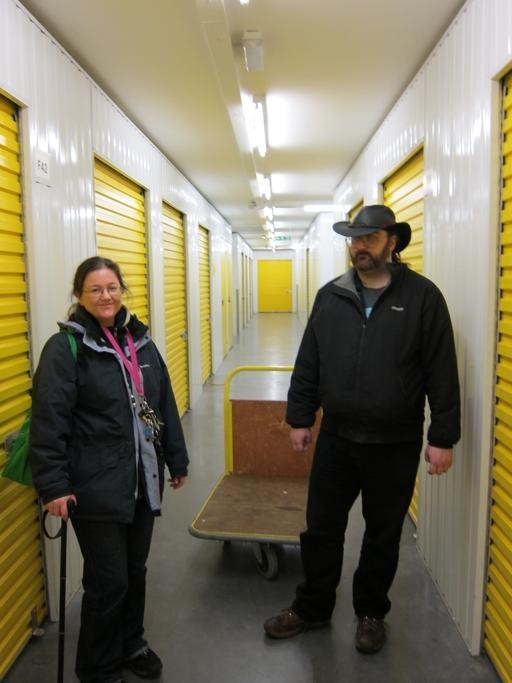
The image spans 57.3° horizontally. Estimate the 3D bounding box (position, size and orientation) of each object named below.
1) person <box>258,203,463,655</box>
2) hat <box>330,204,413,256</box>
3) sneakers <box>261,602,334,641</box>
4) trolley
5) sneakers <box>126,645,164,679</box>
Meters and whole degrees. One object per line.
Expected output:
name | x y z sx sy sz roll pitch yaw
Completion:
person | 0.437 0.362 1.929 0.733 1.805 0.317 1 2 28
hat | 0.502 -0.454 1.915 0.204 0.122 0.237 22 4 40
sneakers | 0.183 1.210 2.091 0.276 0.157 0.107 5 -2 -15
trolley | 0.058 0.687 2.722 0.581 1.271 1.235 0 -3 5
sneakers | -0.432 1.225 1.823 0.160 0.091 0.065 -11 -23 43
